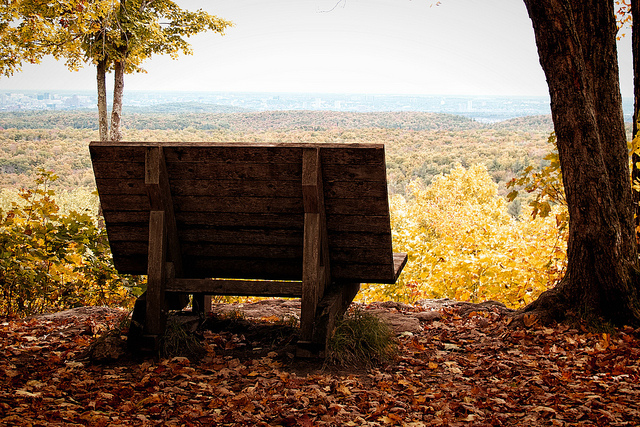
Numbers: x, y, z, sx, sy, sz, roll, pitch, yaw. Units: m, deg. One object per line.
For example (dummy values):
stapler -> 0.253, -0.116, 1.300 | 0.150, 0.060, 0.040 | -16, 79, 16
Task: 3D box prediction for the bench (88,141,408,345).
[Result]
bench -> -0.652, 0.086, 7.336 | 3.827, 1.780, 2.375 | 0, -1, 8
